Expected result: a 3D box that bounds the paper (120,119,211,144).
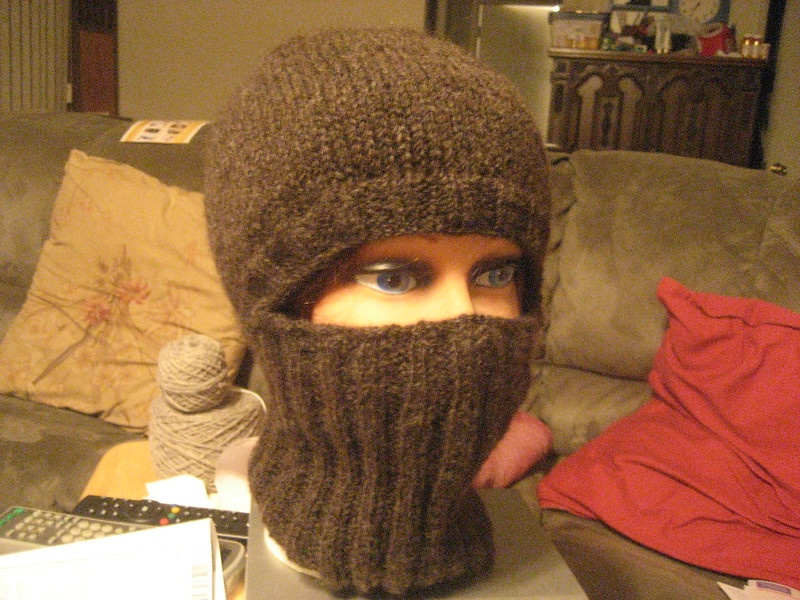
[{"bbox_3d":[-0.614,-0.421,1.808,0.170,0.044,0.104,1,34,20],"label":"paper"}]
